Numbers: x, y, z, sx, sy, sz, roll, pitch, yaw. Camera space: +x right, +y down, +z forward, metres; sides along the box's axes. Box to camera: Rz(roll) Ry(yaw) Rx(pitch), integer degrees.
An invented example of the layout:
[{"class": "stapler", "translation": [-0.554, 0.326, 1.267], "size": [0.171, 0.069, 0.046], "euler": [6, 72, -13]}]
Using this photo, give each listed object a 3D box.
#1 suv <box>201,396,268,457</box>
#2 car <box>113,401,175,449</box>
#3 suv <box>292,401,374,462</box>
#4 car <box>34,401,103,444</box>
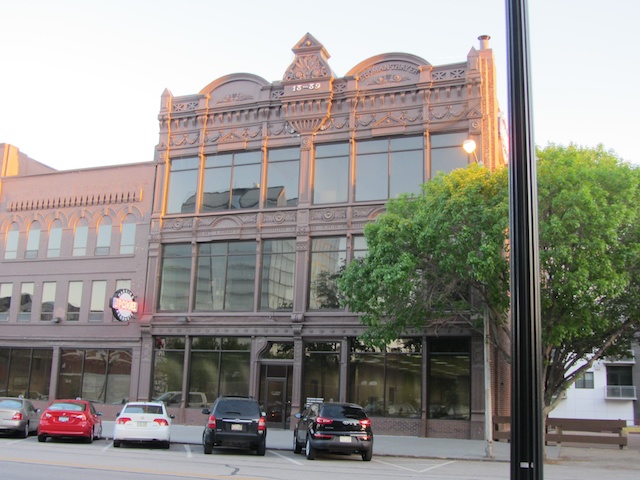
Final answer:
[{"class": "suv", "translation": [-2.704, 6.050, 20.432], "size": [1.436, 1.131, 2.357], "euler": [2, -9, -1]}, {"class": "car", "translation": [-6.031, 6.475, 21.868], "size": [1.283, 0.951, 2.243], "euler": [0, -9, -3]}, {"class": "suv", "translation": [0.349, 6.337, 20.683], "size": [1.678, 1.308, 2.908], "euler": [3, -11, -6]}, {"class": "car", "translation": [-8.832, 6.565, 22.262], "size": [1.416, 1.036, 2.906], "euler": [0, -10, 2]}]
